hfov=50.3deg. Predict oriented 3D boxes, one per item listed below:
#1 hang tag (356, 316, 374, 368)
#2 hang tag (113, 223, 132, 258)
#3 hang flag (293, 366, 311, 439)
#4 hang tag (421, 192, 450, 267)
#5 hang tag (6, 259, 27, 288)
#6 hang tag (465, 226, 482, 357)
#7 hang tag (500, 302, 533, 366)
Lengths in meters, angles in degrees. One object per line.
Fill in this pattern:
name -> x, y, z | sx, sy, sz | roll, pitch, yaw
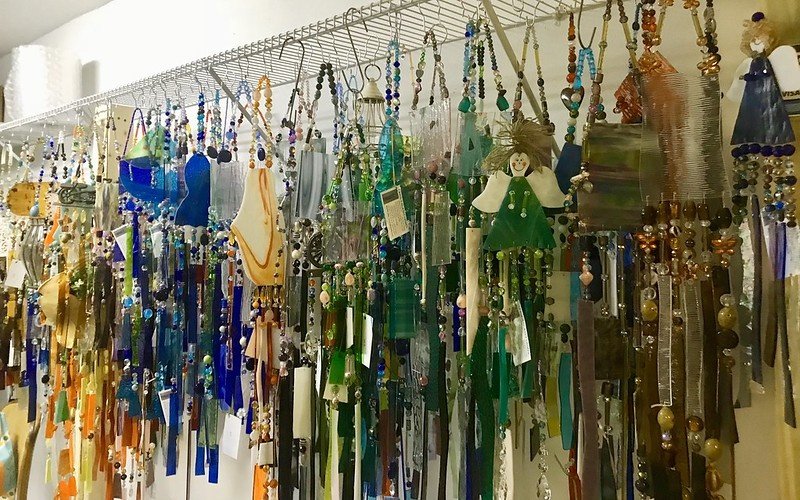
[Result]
hang tag -> -0.112, 0.289, 2.709 | 0.014, 0.205, 0.135 | 4, -5, -30
hang tag -> -1.004, -0.026, 3.131 | 0.026, 0.139, 0.110 | 9, -2, -22
hang flag -> -0.318, 0.488, 2.762 | 0.059, 0.230, 0.010 | 0, 2, -29
hang tag -> 0.120, -0.071, 2.641 | 0.082, 0.250, 0.008 | 1, 20, 7
hang tag -> -1.546, 0.090, 3.430 | 0.084, 0.134, 0.007 | 14, -27, -16
hang tag -> 0.222, 0.123, 2.587 | 0.072, 0.383, 0.051 | -5, -3, 3
hang tag -> 0.346, 0.231, 2.567 | 0.071, 0.228, 0.009 | -11, 2, -37
